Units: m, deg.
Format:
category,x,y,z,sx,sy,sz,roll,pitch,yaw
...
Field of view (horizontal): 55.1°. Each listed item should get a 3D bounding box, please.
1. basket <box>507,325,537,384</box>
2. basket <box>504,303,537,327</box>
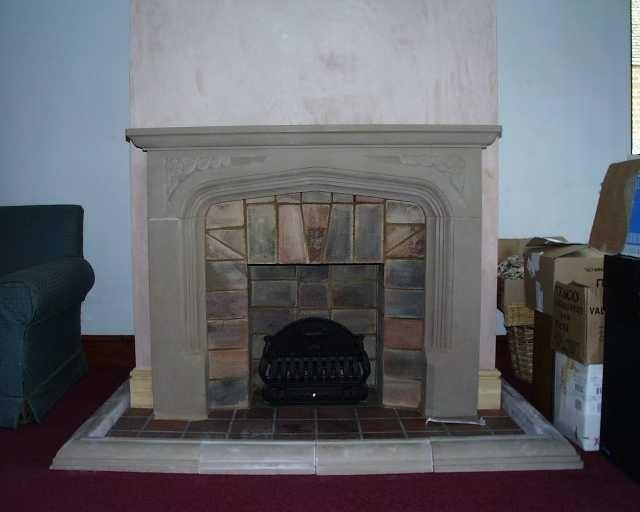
category,x,y,z,sx,sy,sz,roll,pitch,yaw
basket,1.198,0.578,3.660,0.195,0.291,0.093,1,10,8
basket,1.166,0.340,3.606,0.125,0.086,0.130,1,0,-16
